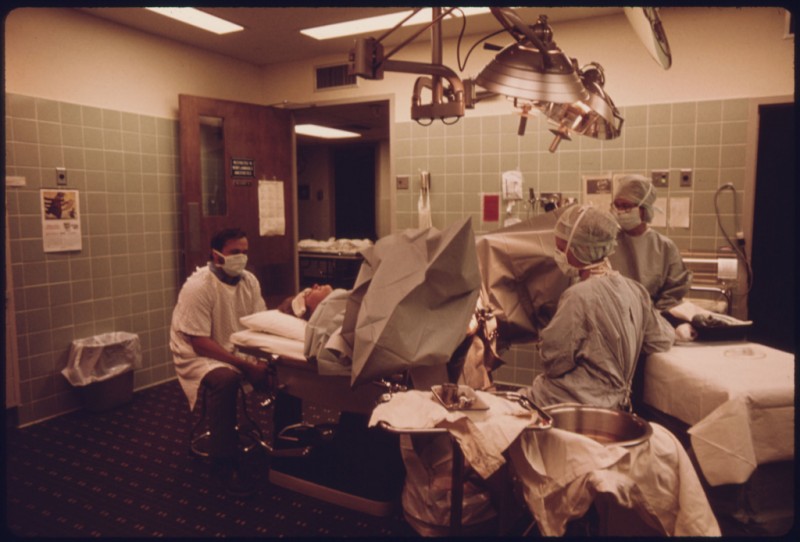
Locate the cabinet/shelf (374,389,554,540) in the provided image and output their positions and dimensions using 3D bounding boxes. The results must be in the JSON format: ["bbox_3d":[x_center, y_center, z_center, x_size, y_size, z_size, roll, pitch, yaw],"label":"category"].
[{"bbox_3d":[0.308,1.107,3.457,0.927,0.686,0.967,0,9,-7],"label":"cabinet/shelf"}]

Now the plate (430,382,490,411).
[{"bbox_3d":[0.308,0.668,3.275,0.299,0.115,0.156,0,8,9],"label":"plate"}]

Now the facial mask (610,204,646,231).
[{"bbox_3d":[1.632,-0.388,4.465,0.205,0.128,0.170,-2,4,-24],"label":"facial mask"}]

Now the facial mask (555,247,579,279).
[{"bbox_3d":[1.066,-0.052,3.973,0.078,0.167,0.164,-31,-48,28],"label":"facial mask"}]

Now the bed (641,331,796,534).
[{"bbox_3d":[1.929,0.984,3.957,1.042,0.731,1.037,-3,4,-19],"label":"bed"}]

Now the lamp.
[{"bbox_3d":[0.595,-1.416,4.202,1.693,1.183,1.991,-2,8,-1],"label":"lamp"}]

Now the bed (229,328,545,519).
[{"bbox_3d":[-0.217,1.080,4.077,1.483,0.901,1.157,12,3,7],"label":"bed"}]

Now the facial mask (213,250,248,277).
[{"bbox_3d":[-1.296,-0.056,4.746,0.195,0.125,0.195,9,5,20],"label":"facial mask"}]

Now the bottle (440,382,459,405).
[{"bbox_3d":[0.267,0.659,3.342,0.091,0.089,0.092,4,4,30],"label":"bottle"}]

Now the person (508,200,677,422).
[{"bbox_3d":[1.224,0.222,4.025,0.927,1.247,0.875,-3,11,-18],"label":"person"}]

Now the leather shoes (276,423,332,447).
[{"bbox_3d":[-0.693,1.066,4.062,0.552,0.142,0.152,-11,-21,38],"label":"leather shoes"}]
